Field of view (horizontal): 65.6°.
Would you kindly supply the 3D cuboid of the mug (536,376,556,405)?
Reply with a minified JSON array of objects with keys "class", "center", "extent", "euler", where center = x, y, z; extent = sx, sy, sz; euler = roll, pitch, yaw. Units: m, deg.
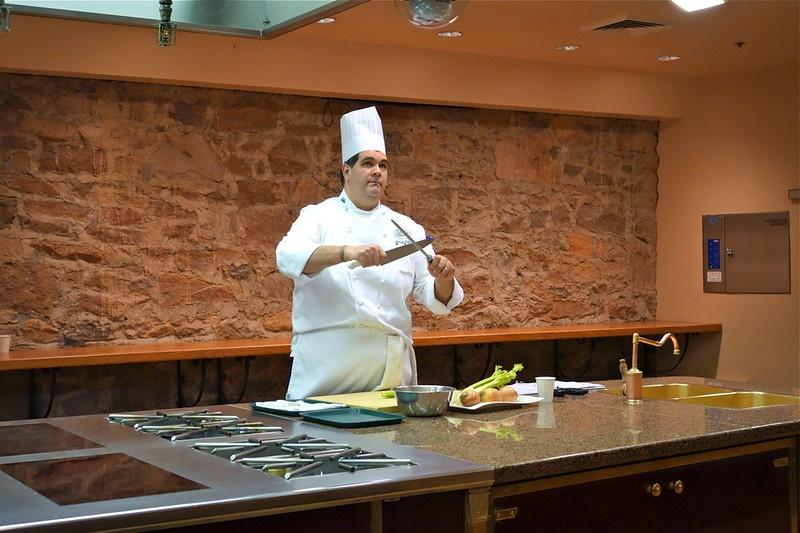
[{"class":"mug","center":[0.609,0.520,2.617],"extent":[0.113,0.093,0.102],"euler":[1,-6,-15]}]

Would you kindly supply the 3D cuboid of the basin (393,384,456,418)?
[{"class":"basin","center":[0.091,0.501,2.307],"extent":[0.228,0.108,0.146],"euler":[2,2,-11]}]

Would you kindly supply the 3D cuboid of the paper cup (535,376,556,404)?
[{"class":"paper cup","center":[0.611,0.518,2.617],"extent":[0.112,0.094,0.102],"euler":[0,-6,0]}]
